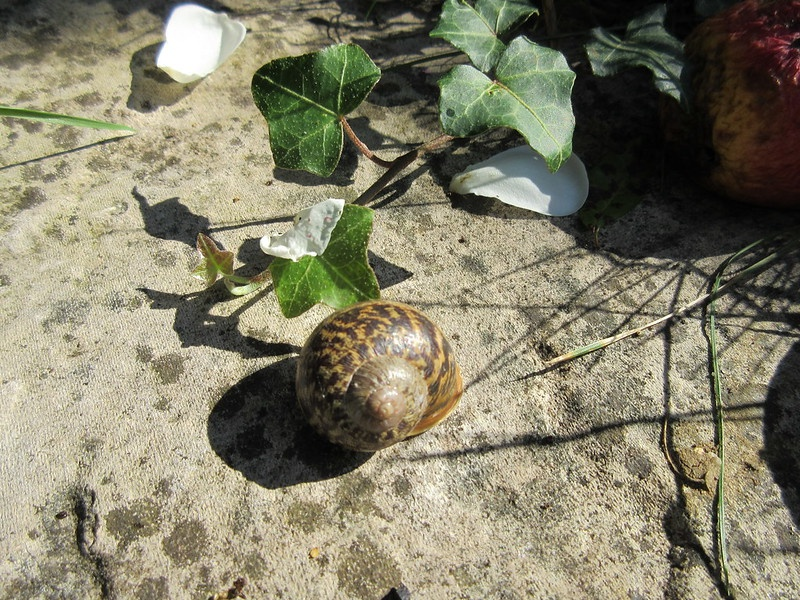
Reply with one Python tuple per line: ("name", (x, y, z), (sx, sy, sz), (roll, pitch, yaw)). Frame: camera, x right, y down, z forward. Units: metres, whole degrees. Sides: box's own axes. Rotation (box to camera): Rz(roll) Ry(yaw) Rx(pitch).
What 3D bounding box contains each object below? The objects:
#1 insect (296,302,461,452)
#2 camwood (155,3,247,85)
("insect", (-0.042, 0.200, 1.918), (0.442, 0.197, 0.394), (-10, 84, -11))
("camwood", (-0.634, -0.843, 2.362), (0.268, 0.092, 0.234), (-39, 82, -5))
